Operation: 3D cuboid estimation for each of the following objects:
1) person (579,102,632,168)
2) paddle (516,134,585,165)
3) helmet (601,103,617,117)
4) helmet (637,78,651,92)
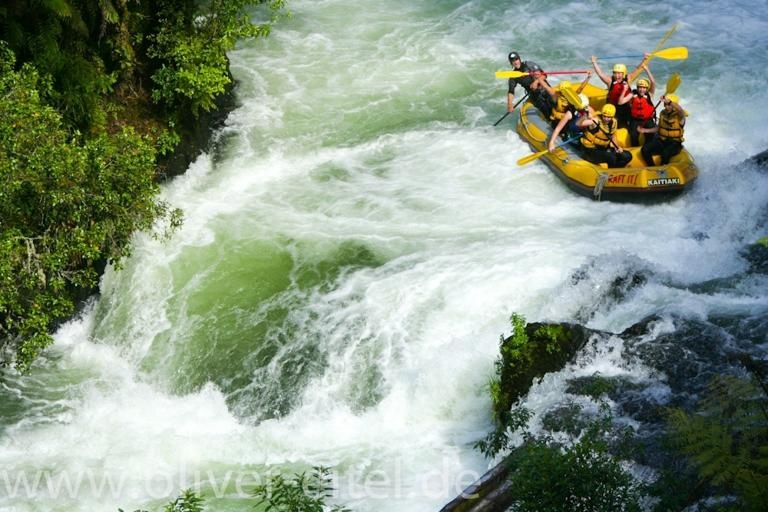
[{"bbox_3d":[6.904,-3.753,25.233,1.097,1.563,1.044,34,59,29],"label":"person"},{"bbox_3d":[5.456,-3.451,26.001,2.195,0.120,0.331,-28,72,5],"label":"paddle"},{"bbox_3d":[6.882,-4.495,24.677,0.320,0.252,0.468,18,36,19],"label":"helmet"},{"bbox_3d":[8.248,-5.496,25.594,0.460,0.589,0.615,5,8,24],"label":"helmet"}]
